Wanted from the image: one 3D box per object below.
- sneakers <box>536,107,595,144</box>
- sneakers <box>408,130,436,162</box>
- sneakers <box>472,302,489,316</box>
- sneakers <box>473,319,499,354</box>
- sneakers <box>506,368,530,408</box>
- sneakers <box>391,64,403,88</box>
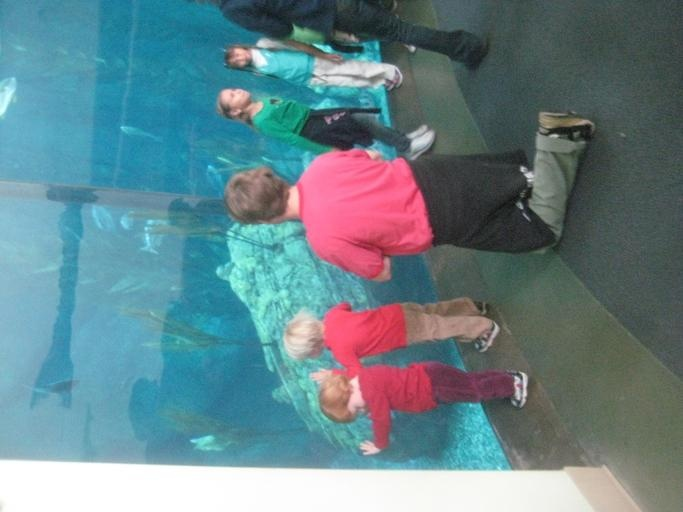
[{"bbox_3d":[1.126,-0.654,2.807,0.227,0.078,0.171,0,22,5],"label":"sneakers"},{"bbox_3d":[0.534,-0.732,3.701,0.121,0.199,0.262,24,27,18],"label":"sneakers"},{"bbox_3d":[0.855,0.313,3.435,0.055,0.041,0.141,16,-5,8],"label":"sneakers"},{"bbox_3d":[0.865,0.487,3.370,0.092,0.209,0.098,19,13,-30],"label":"sneakers"},{"bbox_3d":[1.008,0.748,3.198,0.093,0.205,0.098,2,1,-1],"label":"sneakers"},{"bbox_3d":[0.410,-1.272,4.015,0.059,0.143,0.150,25,27,20],"label":"sneakers"}]
